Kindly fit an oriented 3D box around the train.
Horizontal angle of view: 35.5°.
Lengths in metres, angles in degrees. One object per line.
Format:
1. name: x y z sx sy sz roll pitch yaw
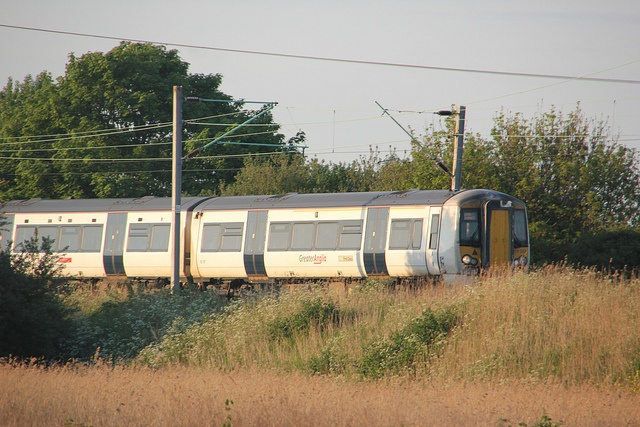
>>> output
1. train: -1.741 1.368 39.815 24.018 4.503 4.172 0 -3 33
